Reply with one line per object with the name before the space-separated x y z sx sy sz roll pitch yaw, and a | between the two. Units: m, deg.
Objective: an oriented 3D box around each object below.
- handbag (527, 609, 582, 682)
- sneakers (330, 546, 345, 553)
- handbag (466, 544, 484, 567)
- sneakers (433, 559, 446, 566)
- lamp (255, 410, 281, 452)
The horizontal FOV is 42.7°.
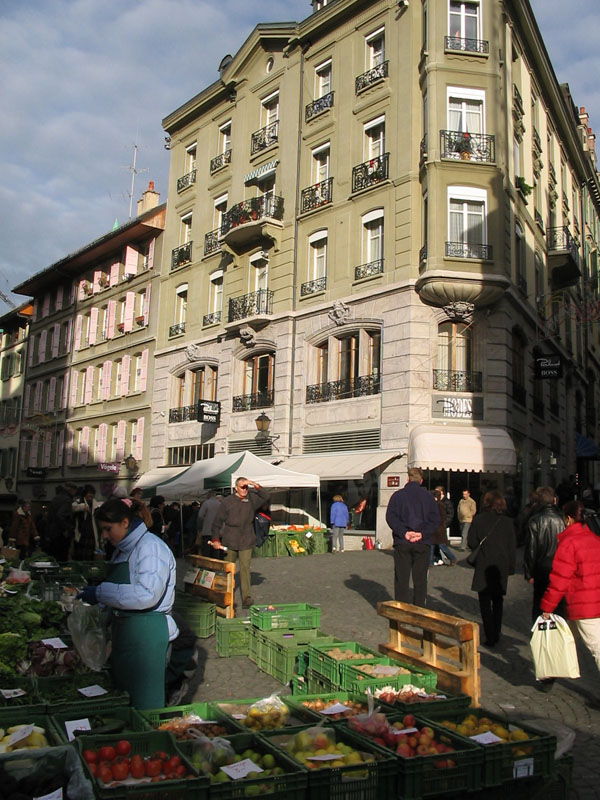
handbag | 2.084 2.031 6.289 0.347 0.517 0.217 -3 -12 21
sneakers | 0.972 3.971 20.258 0.493 0.197 0.164 -1 -4 20
handbag | 1.998 1.779 8.766 0.134 0.257 0.267 0 -11 9
sneakers | 2.986 3.518 16.448 0.094 0.108 0.262 10 -21 1
lamp | -1.110 1.184 26.312 0.849 1.335 1.667 2 -10 -3
